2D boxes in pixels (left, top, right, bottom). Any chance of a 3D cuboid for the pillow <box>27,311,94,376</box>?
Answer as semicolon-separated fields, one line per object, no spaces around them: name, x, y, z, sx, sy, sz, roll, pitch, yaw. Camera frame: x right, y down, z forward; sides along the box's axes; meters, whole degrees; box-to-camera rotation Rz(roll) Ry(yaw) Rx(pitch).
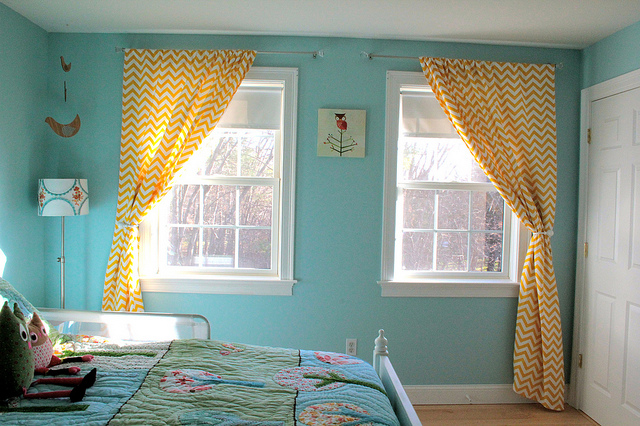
pillow;-1.720;0.865;3.635;0.423;0.413;0.285;-1;-2;1

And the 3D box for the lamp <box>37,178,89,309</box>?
lamp;-2.117;0.259;4.561;0.399;1.091;0.405;-1;0;-27
